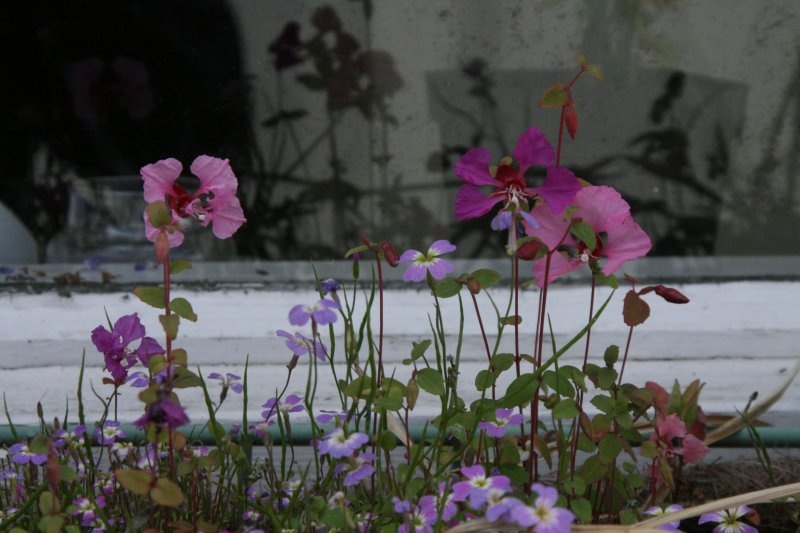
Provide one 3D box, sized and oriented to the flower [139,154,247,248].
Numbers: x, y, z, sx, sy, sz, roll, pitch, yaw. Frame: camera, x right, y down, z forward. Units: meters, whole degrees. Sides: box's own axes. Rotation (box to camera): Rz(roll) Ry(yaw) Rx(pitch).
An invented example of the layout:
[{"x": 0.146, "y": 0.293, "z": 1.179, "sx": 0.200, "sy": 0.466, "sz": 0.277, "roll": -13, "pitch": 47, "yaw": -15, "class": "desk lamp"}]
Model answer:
[{"x": -0.654, "y": -0.213, "z": 6.051, "sx": 0.289, "sy": 0.297, "sz": 0.115, "roll": 18, "pitch": -19, "yaw": -15, "class": "flower"}]
